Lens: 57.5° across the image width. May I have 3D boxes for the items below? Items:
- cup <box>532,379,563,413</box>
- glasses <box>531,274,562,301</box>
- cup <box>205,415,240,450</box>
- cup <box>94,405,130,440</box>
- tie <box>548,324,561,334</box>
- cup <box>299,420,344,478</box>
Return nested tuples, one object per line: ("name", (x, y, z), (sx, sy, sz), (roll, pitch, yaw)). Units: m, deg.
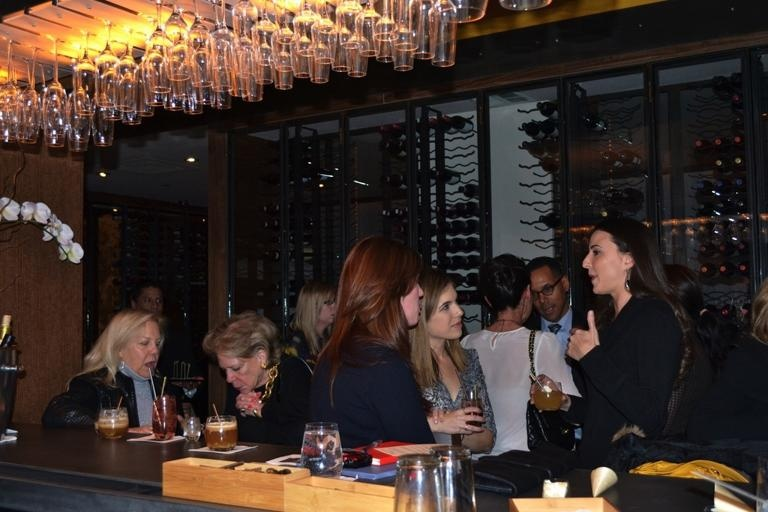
("cup", (0.891, 0.767, 3.899), (0.175, 0.125, 0.174), (1, -12, 0))
("glasses", (1.334, 0.232, 5.656), (0.244, 0.078, 0.243), (-13, 20, 28))
("cup", (-0.789, 0.848, 3.400), (0.180, 0.157, 0.172), (-1, -12, 0))
("cup", (-1.476, 0.909, 3.818), (0.175, 0.151, 0.167), (0, -9, 0))
("tie", (1.385, 0.580, 5.703), (0.115, 0.106, 0.030), (-1, -15, 33))
("cup", (-0.251, 0.763, 2.791), (0.206, 0.192, 0.192), (-1, -7, 0))
